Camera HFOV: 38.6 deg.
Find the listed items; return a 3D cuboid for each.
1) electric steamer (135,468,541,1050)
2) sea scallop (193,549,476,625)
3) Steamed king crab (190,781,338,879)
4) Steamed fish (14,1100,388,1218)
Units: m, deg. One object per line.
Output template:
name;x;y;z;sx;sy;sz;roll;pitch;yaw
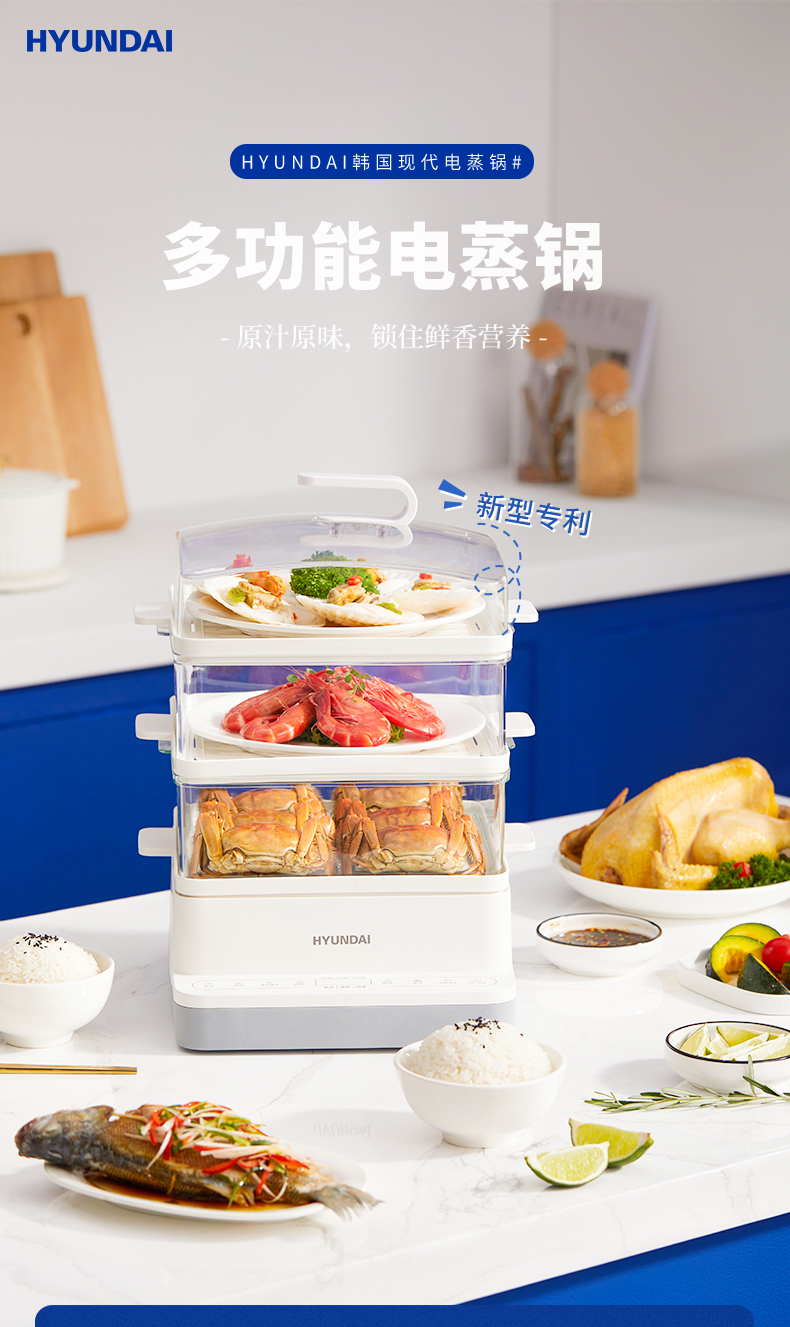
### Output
electric steamer;-0.041;0.086;1.043;0.464;0.616;0.395;-1;5;-4
sea scallop;-0.050;-0.074;0.898;0.190;0.055;0.133;-15;16;-34
Steamed king crab;-0.102;0.126;0.851;0.108;0.069;0.037;-1;3;-9
Steamed fish;-0.111;0.271;0.617;0.197;0.045;0.059;8;-5;6
